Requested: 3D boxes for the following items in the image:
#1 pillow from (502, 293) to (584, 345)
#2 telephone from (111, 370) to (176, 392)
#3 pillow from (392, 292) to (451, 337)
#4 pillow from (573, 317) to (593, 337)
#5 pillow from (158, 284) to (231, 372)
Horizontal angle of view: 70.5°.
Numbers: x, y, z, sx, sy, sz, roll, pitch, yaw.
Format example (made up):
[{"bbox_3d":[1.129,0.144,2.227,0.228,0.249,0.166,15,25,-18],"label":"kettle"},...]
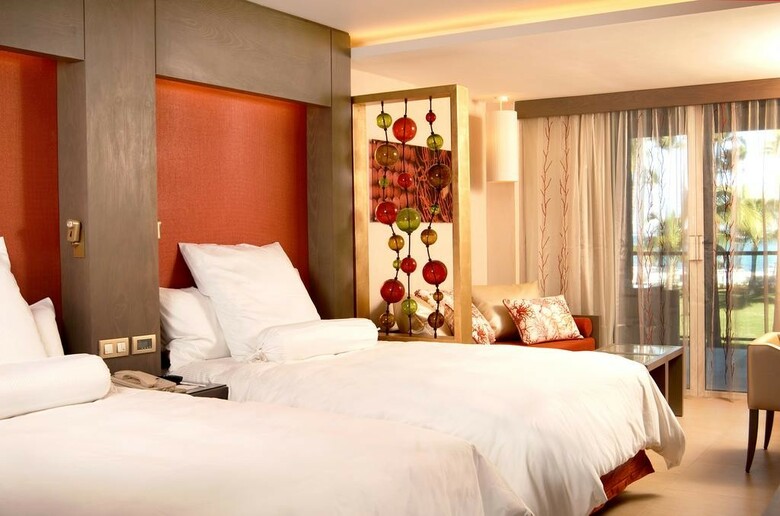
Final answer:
[{"bbox_3d":[1.481,0.586,5.416,0.725,0.437,0.212,-10,-24,-32],"label":"pillow"},{"bbox_3d":[-1.318,0.651,2.921,0.218,0.053,0.154,3,-1,21],"label":"telephone"},{"bbox_3d":[0.274,0.490,4.678,0.370,0.177,0.377,7,7,42],"label":"pillow"},{"bbox_3d":[2.007,0.699,5.742,0.180,0.188,0.229,-4,-5,-29],"label":"pillow"},{"bbox_3d":[-1.235,0.426,3.430,0.142,0.468,0.482,-25,-19,37],"label":"pillow"}]
